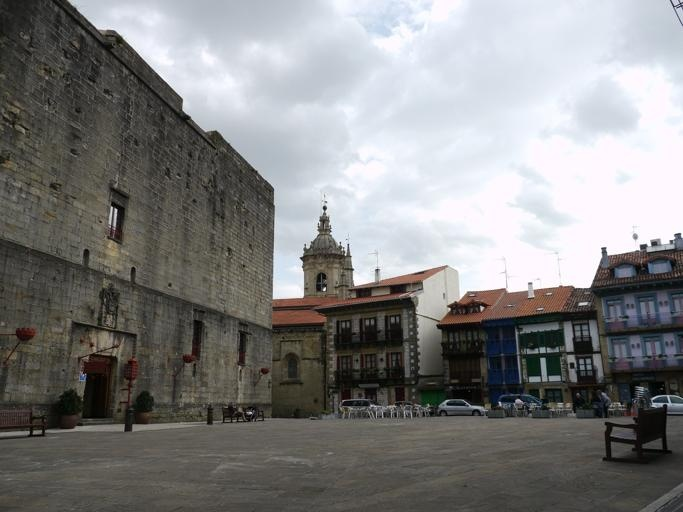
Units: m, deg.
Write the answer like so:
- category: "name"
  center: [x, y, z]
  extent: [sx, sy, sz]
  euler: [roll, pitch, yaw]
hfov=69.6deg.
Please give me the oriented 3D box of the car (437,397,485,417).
- category: "car"
  center: [9.481, 11.961, 39.004]
  extent: [2.975, 1.081, 1.461]
  euler: [-9, -18, 26]

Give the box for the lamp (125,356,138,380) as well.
- category: "lamp"
  center: [-10.802, 5.814, 25.440]
  extent: [0.390, 1.190, 0.761]
  euler: [-2, -13, 8]

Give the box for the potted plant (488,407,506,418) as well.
- category: "potted plant"
  center: [10.172, 10.332, 32.142]
  extent: [1.028, 0.686, 1.066]
  euler: [-5, -10, 15]

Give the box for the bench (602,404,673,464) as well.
- category: "bench"
  center: [6.581, 3.914, 10.911]
  extent: [1.912, 1.099, 0.883]
  euler: [12, -18, -40]

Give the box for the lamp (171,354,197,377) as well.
- category: "lamp"
  center: [-9.721, 6.509, 29.750]
  extent: [1.137, 1.612, 0.861]
  euler: [2, -14, 29]

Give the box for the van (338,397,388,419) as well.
- category: "van"
  center: [1.736, 11.875, 39.558]
  extent: [3.546, 1.377, 2.120]
  euler: [-6, -23, 13]

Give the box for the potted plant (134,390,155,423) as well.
- category: "potted plant"
  center: [-10.437, 7.974, 26.047]
  extent: [0.979, 1.682, 1.047]
  euler: [0, 0, 18]

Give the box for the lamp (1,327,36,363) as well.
- category: "lamp"
  center: [-12.828, 3.510, 19.490]
  extent: [0.679, 1.539, 1.217]
  euler: [-7, -15, 28]
